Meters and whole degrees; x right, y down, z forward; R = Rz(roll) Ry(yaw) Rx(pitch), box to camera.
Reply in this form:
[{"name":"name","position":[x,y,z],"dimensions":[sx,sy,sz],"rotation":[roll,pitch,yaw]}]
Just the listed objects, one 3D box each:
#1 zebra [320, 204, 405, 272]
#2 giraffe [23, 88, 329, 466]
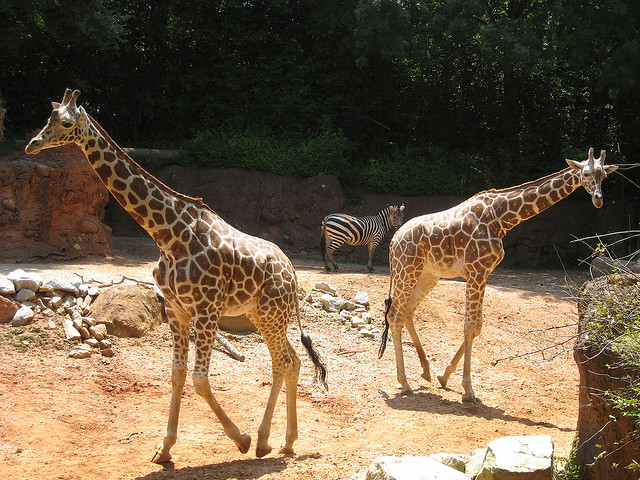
[{"name":"zebra","position":[1.103,-0.028,17.351],"dimensions":[2.189,1.927,0.686],"rotation":[2,7,-9]},{"name":"giraffe","position":[-1.626,0.448,8.100],"dimensions":[2.855,4.192,1.002],"rotation":[3,12,-3]}]
